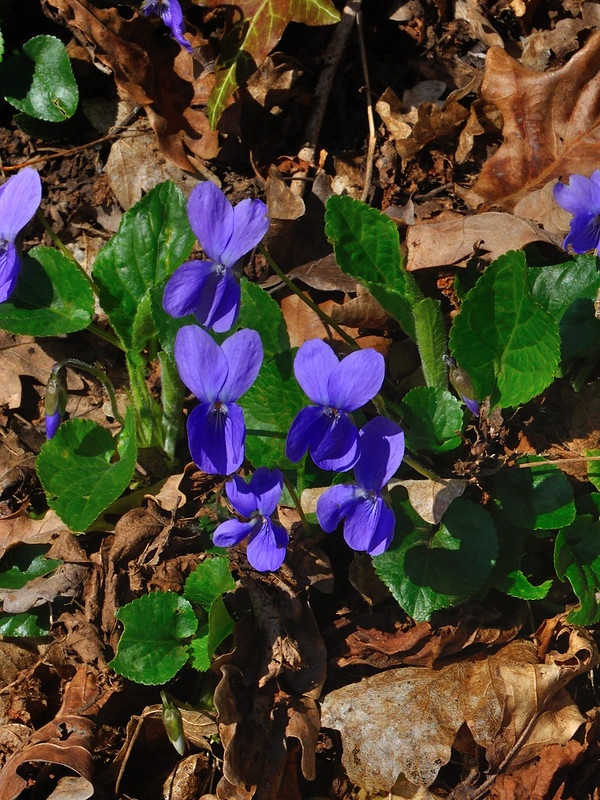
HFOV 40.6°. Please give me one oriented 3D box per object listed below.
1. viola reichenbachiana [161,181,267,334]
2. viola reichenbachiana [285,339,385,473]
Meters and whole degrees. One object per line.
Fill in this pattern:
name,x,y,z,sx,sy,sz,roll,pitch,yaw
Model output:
viola reichenbachiana,-0.192,-0.359,2.177,0.301,0.131,0.390,13,85,14
viola reichenbachiana,0.075,0.001,2.011,0.352,0.118,0.285,8,59,17
